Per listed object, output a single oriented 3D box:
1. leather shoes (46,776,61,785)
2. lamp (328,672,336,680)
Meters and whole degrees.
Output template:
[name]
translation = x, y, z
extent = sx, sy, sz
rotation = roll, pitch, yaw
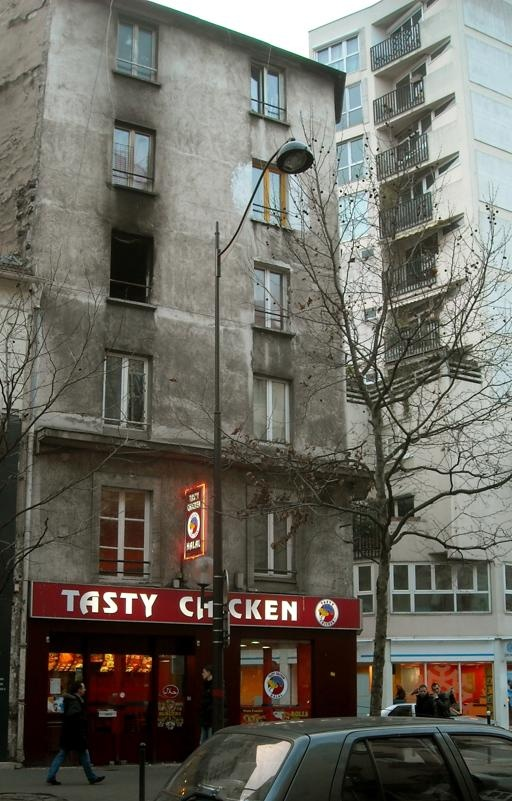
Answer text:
[leather shoes]
translation = -3.126, 5.820, 15.285
extent = 0.219, 0.123, 0.224
rotation = 0, -15, -16
[lamp]
translation = 1.727, 6.212, 22.515
extent = 0.136, 0.152, 0.152
rotation = 1, -9, -1
